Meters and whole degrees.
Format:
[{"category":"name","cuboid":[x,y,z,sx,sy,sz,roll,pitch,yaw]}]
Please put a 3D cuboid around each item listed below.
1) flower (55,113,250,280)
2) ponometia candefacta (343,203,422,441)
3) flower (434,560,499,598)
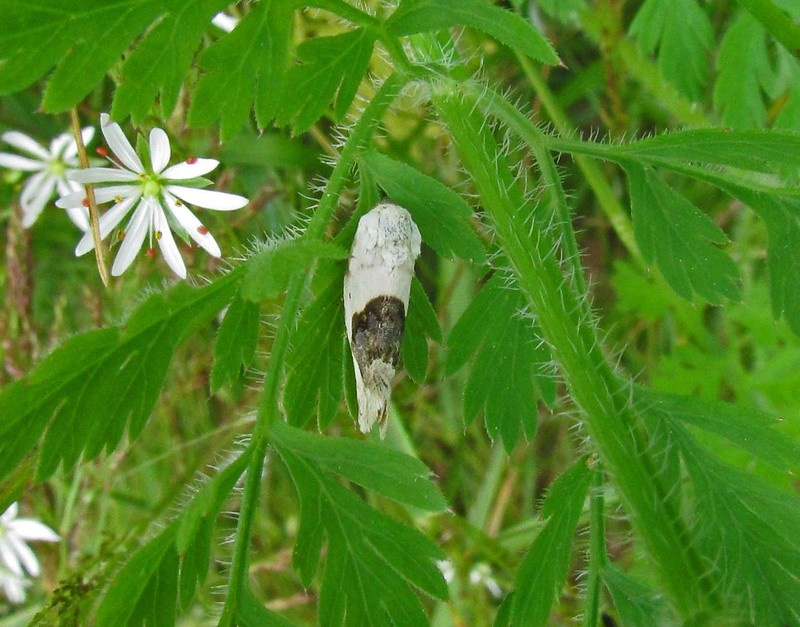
[{"category":"flower","cuboid":[-0.424,-0.214,1.472,0.045,0.225,0.213,-32,-8,41]},{"category":"ponometia candefacta","cuboid":[-0.034,0.013,1.366,0.115,0.356,0.126,4,-14,-3]},{"category":"flower","cuboid":[0.166,0.619,2.036,0.150,0.076,0.118,4,-17,2]}]
